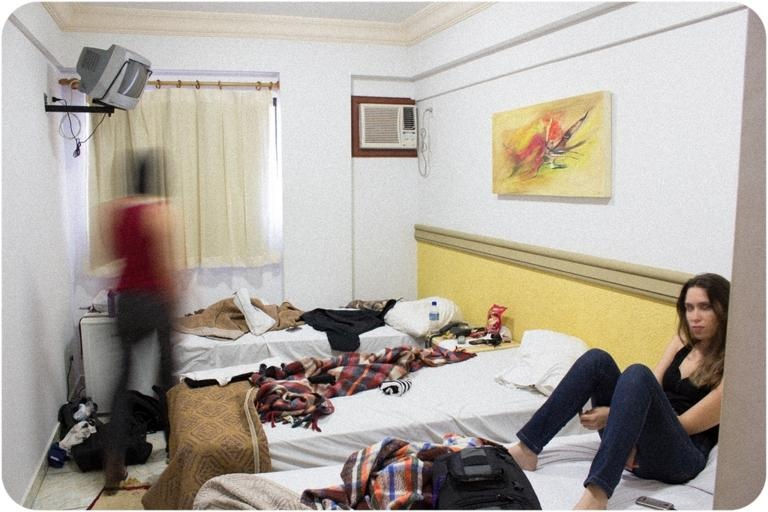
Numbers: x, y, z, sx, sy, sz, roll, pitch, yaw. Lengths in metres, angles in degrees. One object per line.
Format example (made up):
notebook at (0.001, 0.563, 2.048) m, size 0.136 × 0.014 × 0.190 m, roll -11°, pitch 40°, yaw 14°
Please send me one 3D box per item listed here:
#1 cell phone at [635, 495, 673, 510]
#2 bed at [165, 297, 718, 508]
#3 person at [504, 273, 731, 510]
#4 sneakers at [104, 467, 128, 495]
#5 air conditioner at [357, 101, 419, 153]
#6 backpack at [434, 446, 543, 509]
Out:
cell phone at (1.303, 1.182, 2.387) m, size 0.115 × 0.017 × 0.065 m, roll 2°, pitch 2°, yaw 24°
bed at (0.064, 0.960, 2.990) m, size 2.559 × 0.952 × 1.418 m, roll 2°, pitch -2°, yaw -14°
person at (1.311, 0.645, 2.575) m, size 1.060 × 1.045 × 0.596 m, roll -8°, pitch 16°, yaw -28°
sneakers at (-1.826, 1.505, 3.364) m, size 0.110 × 0.188 × 0.046 m, roll 10°, pitch -25°, yaw -15°
air conditioner at (0.005, -1.444, 5.606) m, size 0.713 × 0.475 × 0.389 m, roll -4°, pitch 13°, yaw -16°
backpack at (0.485, 1.104, 2.425) m, size 0.456 × 0.201 × 0.302 m, roll -3°, pitch 14°, yaw -11°
